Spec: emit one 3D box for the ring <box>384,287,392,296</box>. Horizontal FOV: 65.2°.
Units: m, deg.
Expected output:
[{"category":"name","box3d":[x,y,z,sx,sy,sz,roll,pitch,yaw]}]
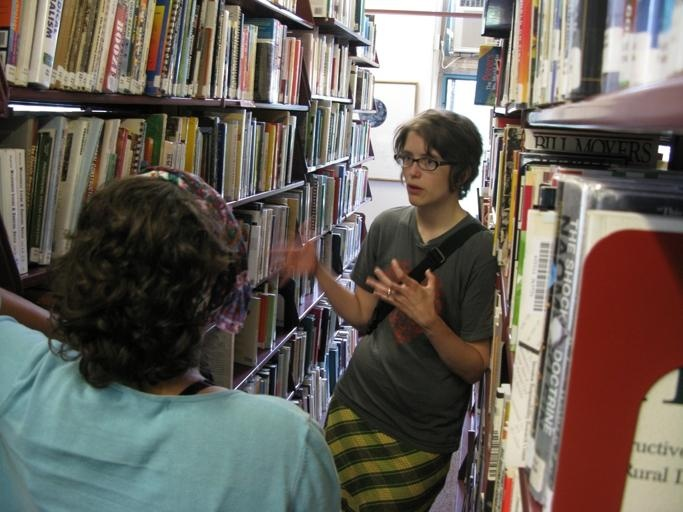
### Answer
[{"category":"ring","box3d":[0.160,0.126,1.834,0.007,0.025,0.024,1,1,-22]}]
